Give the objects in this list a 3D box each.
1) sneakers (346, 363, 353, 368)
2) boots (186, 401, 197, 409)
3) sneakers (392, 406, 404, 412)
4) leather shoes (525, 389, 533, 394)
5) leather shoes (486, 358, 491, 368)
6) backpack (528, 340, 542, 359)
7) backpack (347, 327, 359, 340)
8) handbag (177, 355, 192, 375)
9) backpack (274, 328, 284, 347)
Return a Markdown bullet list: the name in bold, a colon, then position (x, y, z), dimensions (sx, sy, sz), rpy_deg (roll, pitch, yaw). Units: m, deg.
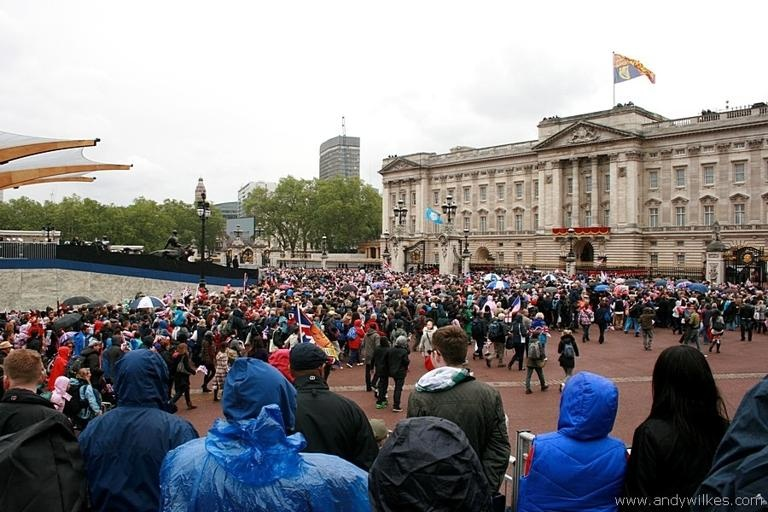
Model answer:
- **sneakers**: position (-0.987, 3.162, 22.000), dimensions (0.091, 0.089, 0.211), rpy_deg (15, -23, 33)
- **boots**: position (-4.359, 3.405, 17.469), dimensions (0.241, 0.159, 0.092), rpy_deg (-8, 11, -42)
- **sneakers**: position (0.300, 3.420, 17.052), dimensions (0.100, 0.113, 0.253), rpy_deg (3, 1, 30)
- **leather shoes**: position (3.491, 3.256, 18.426), dimensions (0.190, 0.125, 0.077), rpy_deg (-7, 7, -40)
- **leather shoes**: position (2.934, 3.012, 21.420), dimensions (0.131, 0.311, 0.107), rpy_deg (-8, 17, -23)
- **backpack**: position (3.567, 2.233, 18.117), dimensions (0.345, 0.405, 0.402), rpy_deg (-7, -11, 33)
- **backpack**: position (-0.850, 2.157, 21.375), dimensions (0.471, 0.443, 0.261), rpy_deg (-3, -7, 33)
- **handbag**: position (-4.468, 2.373, 17.185), dimensions (0.350, 0.484, 0.565), rpy_deg (-4, 3, -24)
- **backpack**: position (-2.715, 2.120, 19.775), dimensions (0.280, 0.492, 0.479), rpy_deg (2, 2, -4)
